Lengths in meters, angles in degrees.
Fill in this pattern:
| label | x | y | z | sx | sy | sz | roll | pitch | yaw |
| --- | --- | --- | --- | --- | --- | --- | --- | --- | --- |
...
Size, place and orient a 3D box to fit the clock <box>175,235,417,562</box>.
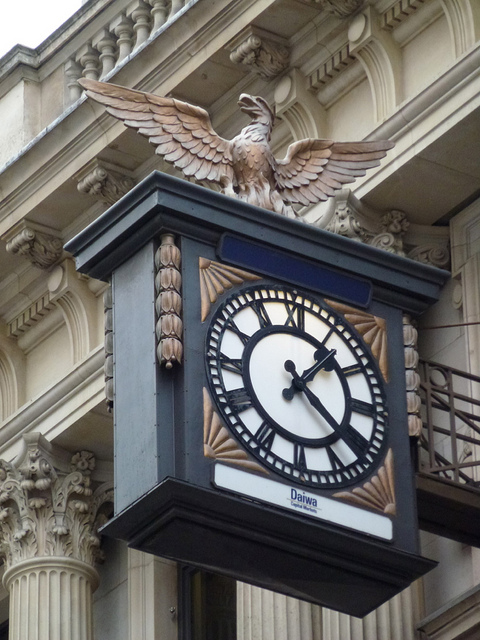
| label | x | y | z | sx | sy | sz | roll | pitch | yaw |
| --- | --- | --- | --- | --- | --- | --- | --- | --- | --- |
| clock | 0.379 | 0.453 | 19.409 | 1.874 | 2.227 | 0.244 | 16 | -38 | -22 |
